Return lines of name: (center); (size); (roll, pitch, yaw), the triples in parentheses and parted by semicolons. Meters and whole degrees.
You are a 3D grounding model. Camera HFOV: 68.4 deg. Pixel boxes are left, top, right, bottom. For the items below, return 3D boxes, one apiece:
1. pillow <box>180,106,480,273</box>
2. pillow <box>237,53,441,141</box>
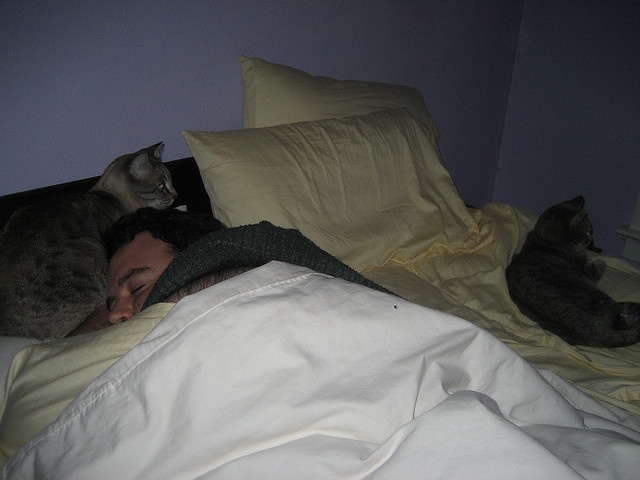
pillow: (0.000, -0.091, 1.626); (0.589, 0.154, 0.787); (18, 55, -10)
pillow: (0.203, -0.552, 2.378); (0.942, 0.246, 0.947); (-8, 0, 29)
